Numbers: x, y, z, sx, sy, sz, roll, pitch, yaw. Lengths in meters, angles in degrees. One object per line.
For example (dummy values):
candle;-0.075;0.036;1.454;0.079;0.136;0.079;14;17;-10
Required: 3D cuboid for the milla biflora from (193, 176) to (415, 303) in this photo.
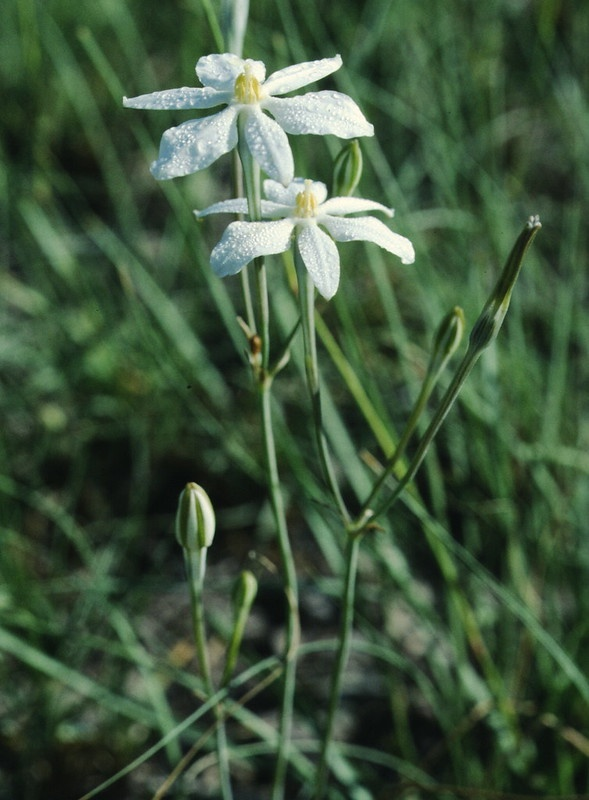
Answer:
milla biflora;0.005;-0.144;0.596;0.112;0.049;0.129;16;31;21
